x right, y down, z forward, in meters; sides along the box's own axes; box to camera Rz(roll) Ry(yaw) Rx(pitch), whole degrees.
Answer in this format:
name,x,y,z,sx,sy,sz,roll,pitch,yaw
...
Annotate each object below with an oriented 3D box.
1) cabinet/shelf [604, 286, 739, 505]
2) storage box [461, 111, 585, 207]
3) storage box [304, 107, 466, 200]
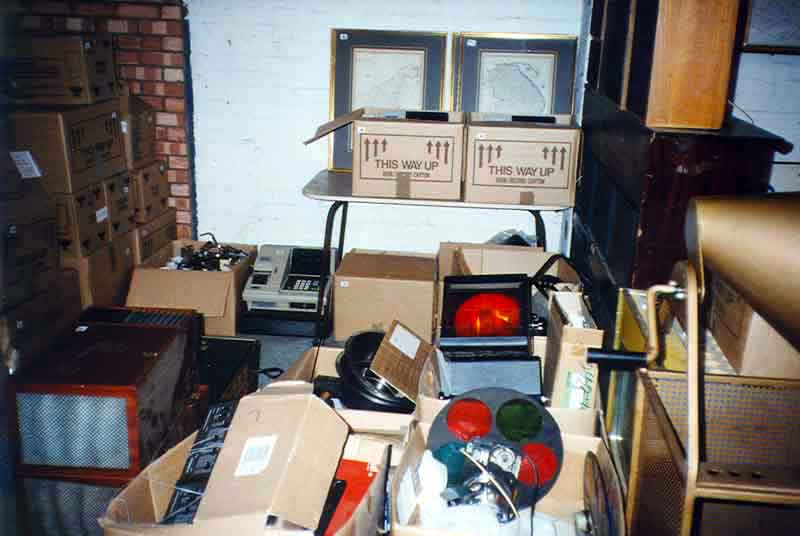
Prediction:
name,x,y,z,sx,sy,sz,roll,pitch,yaw
cabinet/shelf,0.828,0.374,2.121,0.247,0.597,0.617,1,13,-5
storage box,0.610,-0.544,3.250,0.745,0.483,0.403,2,20,0
storage box,-0.067,-0.579,3.256,0.789,0.424,0.387,1,0,4
